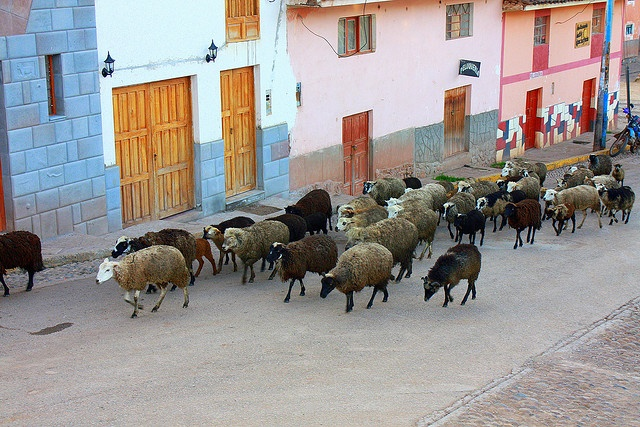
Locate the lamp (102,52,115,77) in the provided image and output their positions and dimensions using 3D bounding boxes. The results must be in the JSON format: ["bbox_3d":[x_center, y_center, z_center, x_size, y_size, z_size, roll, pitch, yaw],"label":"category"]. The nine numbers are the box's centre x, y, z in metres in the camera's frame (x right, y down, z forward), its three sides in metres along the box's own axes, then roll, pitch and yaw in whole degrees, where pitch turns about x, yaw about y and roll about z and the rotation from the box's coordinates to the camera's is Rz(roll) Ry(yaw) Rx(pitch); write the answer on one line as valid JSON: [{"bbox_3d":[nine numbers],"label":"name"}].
[{"bbox_3d":[-4.925,-3.438,27.119,0.330,0.587,0.171,-4,3,-24],"label":"lamp"}]

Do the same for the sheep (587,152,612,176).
[{"bbox_3d":[8.073,-1.410,34.139,0.453,0.562,1.172,0,3,40],"label":"sheep"}]

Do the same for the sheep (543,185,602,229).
[{"bbox_3d":[6.365,-0.141,29.776,1.954,1.062,0.489,-6,4,-34],"label":"sheep"}]

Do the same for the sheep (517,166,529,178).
[{"bbox_3d":[5.470,-1.112,31.696,0.256,0.149,0.339,-3,14,10],"label":"sheep"}]

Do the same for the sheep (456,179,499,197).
[{"bbox_3d":[4.043,-0.644,30.059,1.312,0.652,0.417,-6,4,-33],"label":"sheep"}]

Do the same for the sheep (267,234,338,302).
[{"bbox_3d":[-0.347,1.120,25.044,0.845,1.215,1.975,7,15,42],"label":"sheep"}]

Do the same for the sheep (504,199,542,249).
[{"bbox_3d":[4.865,0.236,28.285,0.648,1.137,1.180,-1,3,29],"label":"sheep"}]

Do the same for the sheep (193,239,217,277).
[{"bbox_3d":[-2.593,0.957,26.195,0.510,0.849,0.871,-3,3,-6],"label":"sheep"}]

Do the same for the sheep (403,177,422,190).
[{"bbox_3d":[2.401,-0.788,30.736,0.417,0.255,0.350,3,-3,-17],"label":"sheep"}]

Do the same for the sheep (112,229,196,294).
[{"bbox_3d":[-3.754,1.062,25.303,0.894,1.359,2.105,11,9,39],"label":"sheep"}]

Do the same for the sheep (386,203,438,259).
[{"bbox_3d":[1.966,0.409,26.639,0.696,1.102,1.609,-3,-5,40],"label":"sheep"}]

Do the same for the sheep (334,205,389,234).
[{"bbox_3d":[0.973,0.163,27.247,1.344,0.641,0.474,-14,9,-31],"label":"sheep"}]

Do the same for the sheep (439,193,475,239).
[{"bbox_3d":[3.282,0.148,28.783,0.471,0.932,1.642,-4,6,22],"label":"sheep"}]

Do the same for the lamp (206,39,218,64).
[{"bbox_3d":[-2.693,-3.994,28.969,0.206,0.533,0.341,0,4,37],"label":"lamp"}]

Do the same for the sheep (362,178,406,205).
[{"bbox_3d":[1.650,-0.540,30.339,1.299,0.772,0.535,-13,15,-33],"label":"sheep"}]

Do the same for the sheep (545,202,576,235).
[{"bbox_3d":[5.972,0.117,29.170,0.447,0.843,1.250,9,17,39],"label":"sheep"}]

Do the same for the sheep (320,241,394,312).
[{"bbox_3d":[0.633,1.368,24.393,0.877,1.277,2.020,13,19,38],"label":"sheep"}]

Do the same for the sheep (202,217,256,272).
[{"bbox_3d":[-2.128,0.688,26.505,0.447,0.827,1.381,5,9,40],"label":"sheep"}]
